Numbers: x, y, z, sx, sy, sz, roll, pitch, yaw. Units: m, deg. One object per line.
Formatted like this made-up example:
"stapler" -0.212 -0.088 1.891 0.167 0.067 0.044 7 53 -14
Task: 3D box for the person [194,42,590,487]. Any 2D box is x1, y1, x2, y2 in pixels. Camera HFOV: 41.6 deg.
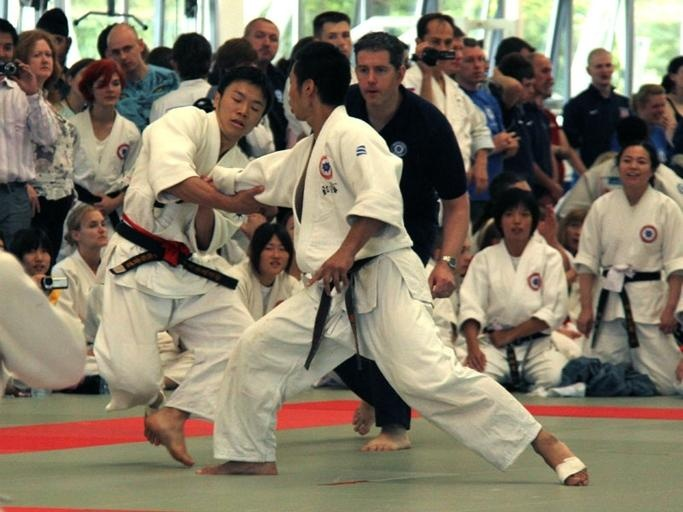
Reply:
"person" 0.097 0.011 4.043 1.421 1.929 0.808 1 9 -5
